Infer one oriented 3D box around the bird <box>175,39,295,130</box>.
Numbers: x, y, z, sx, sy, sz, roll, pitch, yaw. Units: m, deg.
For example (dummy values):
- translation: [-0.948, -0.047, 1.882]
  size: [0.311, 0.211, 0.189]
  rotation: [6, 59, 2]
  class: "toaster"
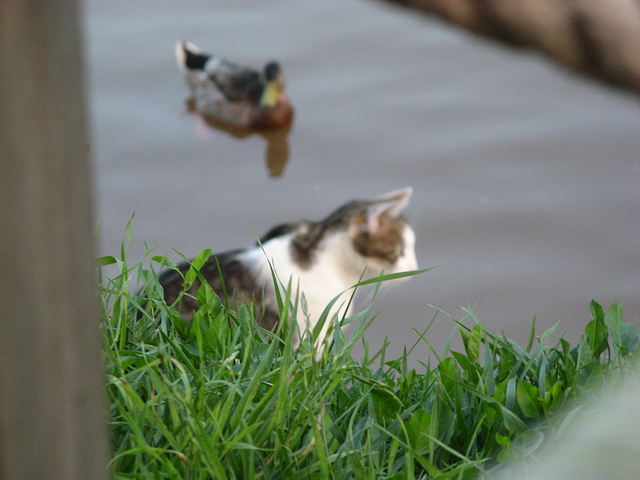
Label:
- translation: [-0.137, -0.228, 1.805]
  size: [0.172, 0.109, 0.104]
  rotation: [33, 10, 7]
  class: "bird"
